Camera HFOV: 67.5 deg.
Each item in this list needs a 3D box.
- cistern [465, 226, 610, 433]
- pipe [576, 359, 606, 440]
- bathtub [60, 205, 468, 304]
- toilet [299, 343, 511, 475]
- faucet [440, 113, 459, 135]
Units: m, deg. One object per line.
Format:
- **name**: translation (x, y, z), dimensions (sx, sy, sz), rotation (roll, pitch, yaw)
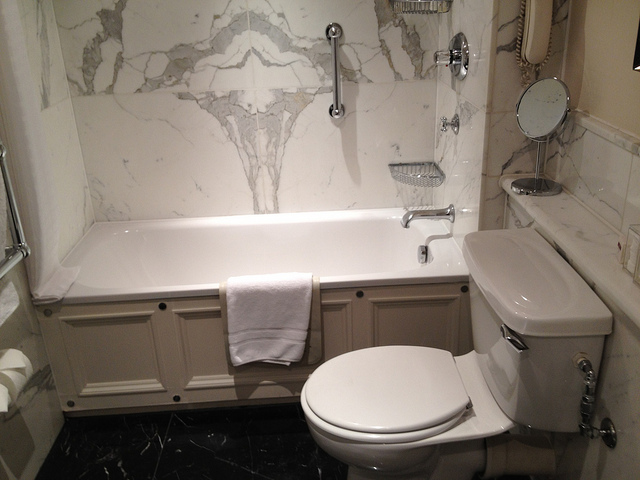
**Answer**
- **cistern**: translation (0.733, 0.319, 1.728), dimensions (0.358, 0.524, 0.514), rotation (-2, 20, 5)
- **pipe**: translation (0.857, 0.516, 1.518), dimensions (0.056, 0.230, 0.099), rotation (3, 3, -17)
- **bathtub**: translation (-0.241, 0.096, 2.623), dimensions (1.993, 0.253, 0.843), rotation (-3, 28, 2)
- **toilet**: translation (0.308, 0.624, 1.873), dimensions (0.652, 0.453, 0.493), rotation (-1, 43, 5)
- **faucet**: translation (0.671, -0.600, 2.478), dimensions (0.069, 0.145, 0.134), rotation (-2, 14, -10)
